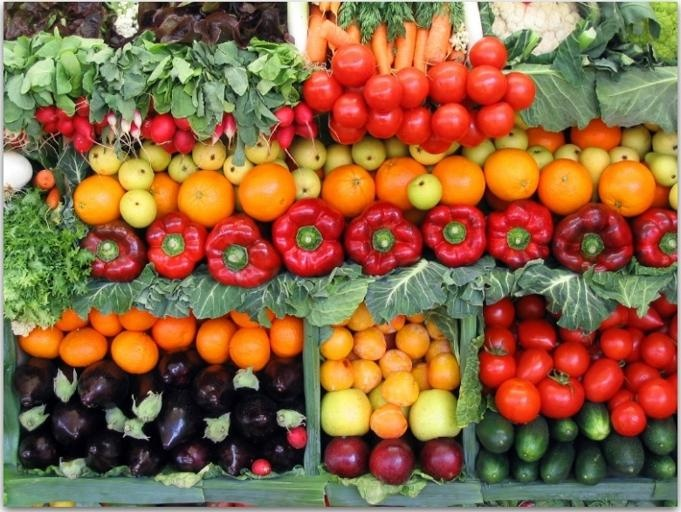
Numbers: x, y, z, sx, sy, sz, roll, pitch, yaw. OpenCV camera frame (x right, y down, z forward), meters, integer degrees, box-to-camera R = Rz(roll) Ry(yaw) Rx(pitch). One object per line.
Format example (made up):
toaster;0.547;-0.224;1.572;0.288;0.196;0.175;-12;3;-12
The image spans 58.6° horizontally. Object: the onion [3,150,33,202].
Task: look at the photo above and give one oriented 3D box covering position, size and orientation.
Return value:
onion;-1.849;-0.454;3.463;0.158;0.203;0.168;-18;51;-12
